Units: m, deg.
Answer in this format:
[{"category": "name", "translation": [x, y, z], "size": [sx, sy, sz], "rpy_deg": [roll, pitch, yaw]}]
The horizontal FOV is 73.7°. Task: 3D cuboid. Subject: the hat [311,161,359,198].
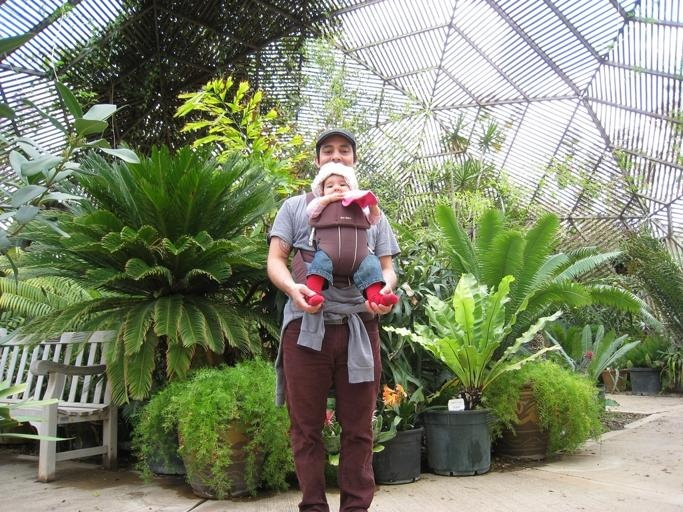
[{"category": "hat", "translation": [-0.033, -0.381, 2.166], "size": [0.159, 0.192, 0.099], "rpy_deg": [2, -10, 0]}]
